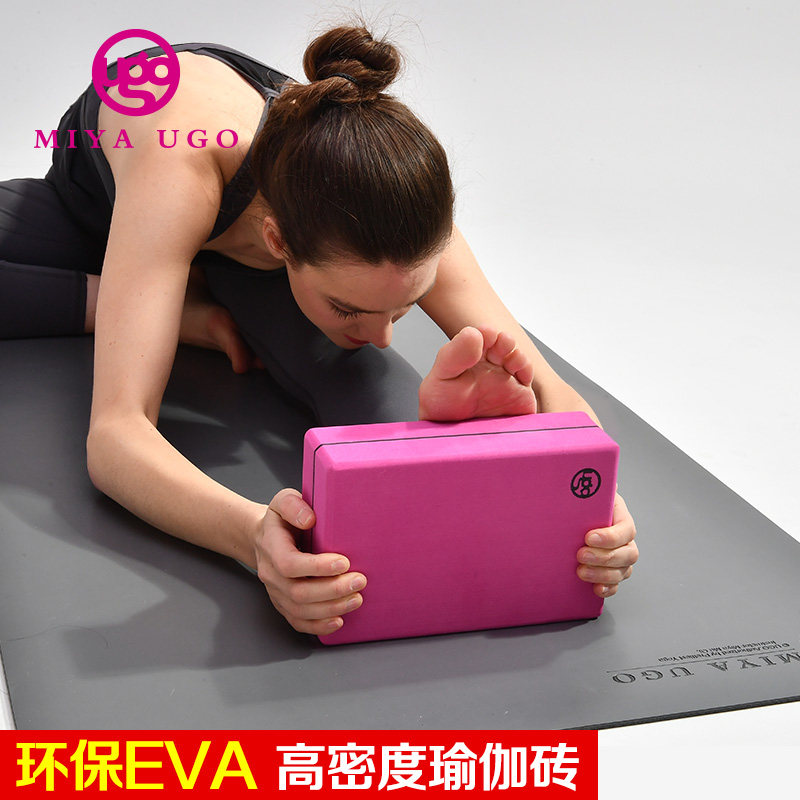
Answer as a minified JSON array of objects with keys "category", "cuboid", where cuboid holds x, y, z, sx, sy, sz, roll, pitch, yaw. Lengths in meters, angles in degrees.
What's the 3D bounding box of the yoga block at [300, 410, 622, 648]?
[{"category":"yoga block","cuboid":[0.077,0.211,1.233,0.502,0.261,0.144,0,3,-25]}]
